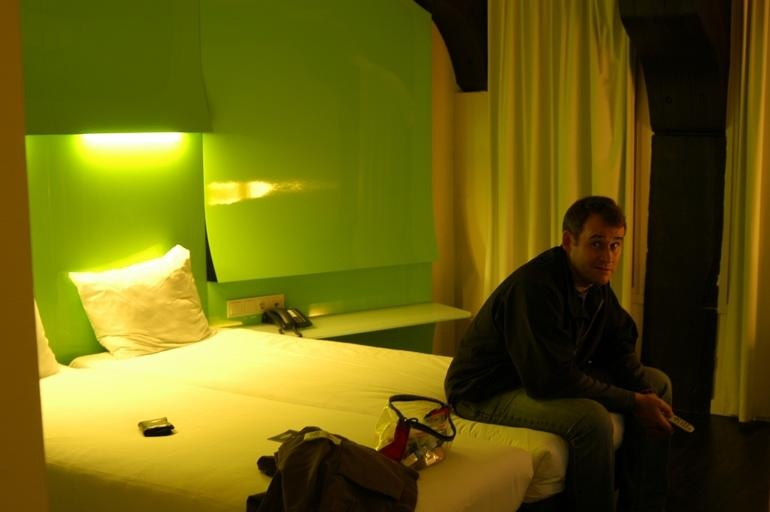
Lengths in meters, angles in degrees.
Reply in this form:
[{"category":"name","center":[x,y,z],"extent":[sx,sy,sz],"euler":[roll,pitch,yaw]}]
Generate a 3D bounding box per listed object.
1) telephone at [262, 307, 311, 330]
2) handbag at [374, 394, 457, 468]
[{"category":"telephone","center":[-0.616,0.379,3.765],"extent":[0.203,0.076,0.162],"euler":[0,-1,41]},{"category":"handbag","center":[0.092,0.727,2.294],"extent":[0.308,0.249,0.266],"euler":[8,-15,9]}]
